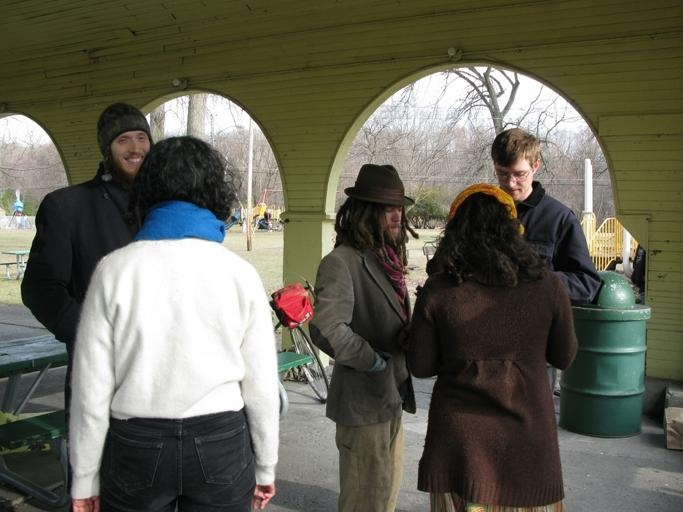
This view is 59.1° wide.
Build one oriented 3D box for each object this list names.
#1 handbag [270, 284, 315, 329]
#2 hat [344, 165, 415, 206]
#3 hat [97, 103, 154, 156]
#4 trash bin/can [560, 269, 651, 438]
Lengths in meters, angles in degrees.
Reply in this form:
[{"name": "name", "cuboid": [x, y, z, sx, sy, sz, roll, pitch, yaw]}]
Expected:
[{"name": "handbag", "cuboid": [-0.490, 0.481, 6.120, 0.390, 0.371, 0.440, -14, 22, -3]}, {"name": "hat", "cuboid": [0.200, -0.416, 3.431, 0.400, 0.191, 0.511, 0, 9, 2]}, {"name": "hat", "cuboid": [-1.258, -0.759, 3.581, 0.326, 0.317, 0.292, 11, 19, 42]}, {"name": "trash bin/can", "cuboid": [2.440, 0.888, 5.653, 0.831, 1.428, 0.829, 0, 2, 9]}]
